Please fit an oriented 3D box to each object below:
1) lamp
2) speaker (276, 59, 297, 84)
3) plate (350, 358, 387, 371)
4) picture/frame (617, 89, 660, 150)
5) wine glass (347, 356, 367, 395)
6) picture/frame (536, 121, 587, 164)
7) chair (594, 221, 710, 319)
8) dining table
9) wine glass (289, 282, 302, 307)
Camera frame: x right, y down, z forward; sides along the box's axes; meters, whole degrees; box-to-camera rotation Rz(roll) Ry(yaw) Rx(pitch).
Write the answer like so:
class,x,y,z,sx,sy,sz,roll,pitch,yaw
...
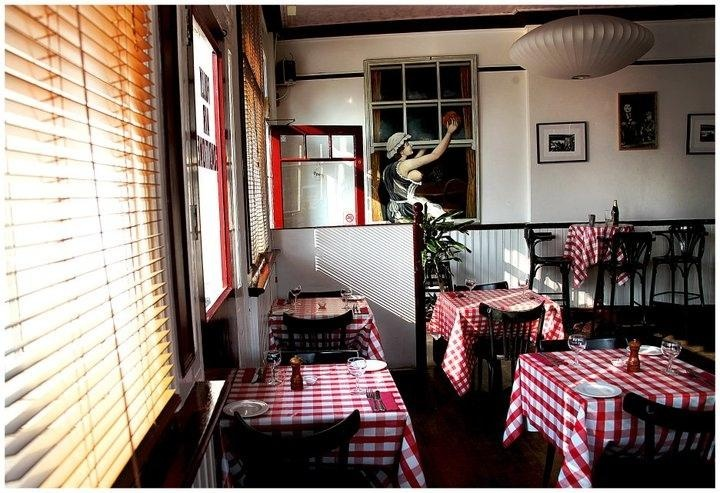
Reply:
class,x,y,z,sx,sy,sz,roll,pitch,yaw
lamp,2.164,-1.969,4.823,1.248,0.473,0.573,-1,8,3
speaker,-1.045,-2.420,6.773,0.267,0.322,0.139,-1,7,8
plate,0.064,0.660,2.774,0.120,0.017,0.120,1,4,15
picture/frame,3.847,-1.812,6.838,0.800,1.161,0.073,-1,1,-8
wine glass,-0.045,0.680,2.573,0.117,0.201,0.121,3,-3,-10
picture/frame,2.753,-1.476,6.820,0.577,0.489,0.041,-1,0,-3
chair,3.741,0.285,6.372,1.106,1.251,0.900,-2,10,-10
dining table,2.931,0.164,6.362,0.807,0.800,0.820,0,-2,2
wine glass,-0.570,0.440,4.387,0.130,0.188,0.129,2,-5,8
